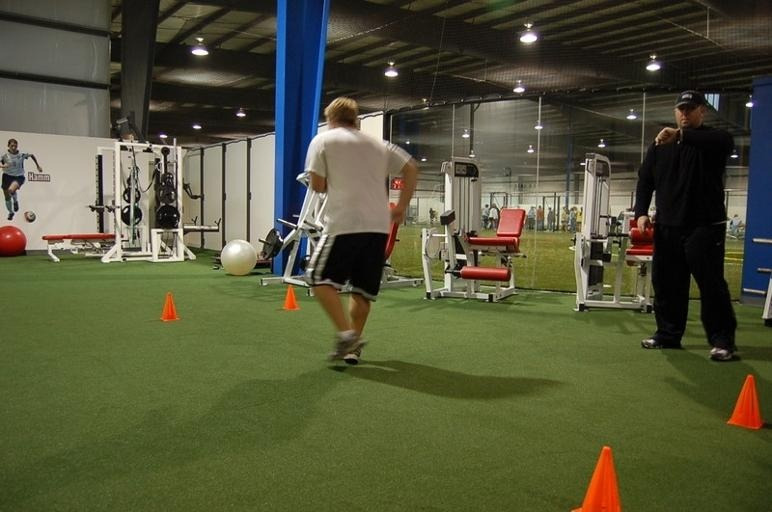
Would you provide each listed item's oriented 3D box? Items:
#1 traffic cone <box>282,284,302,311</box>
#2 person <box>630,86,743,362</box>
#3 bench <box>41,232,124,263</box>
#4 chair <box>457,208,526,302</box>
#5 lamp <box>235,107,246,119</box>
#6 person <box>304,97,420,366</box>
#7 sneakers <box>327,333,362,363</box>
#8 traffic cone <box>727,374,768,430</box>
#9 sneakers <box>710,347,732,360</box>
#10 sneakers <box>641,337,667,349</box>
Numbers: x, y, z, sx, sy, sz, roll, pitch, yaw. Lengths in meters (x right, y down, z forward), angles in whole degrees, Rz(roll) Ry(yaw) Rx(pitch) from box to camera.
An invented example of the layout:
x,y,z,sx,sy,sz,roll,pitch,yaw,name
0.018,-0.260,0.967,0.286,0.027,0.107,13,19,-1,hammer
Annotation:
x,y,z,sx,sy,sz,roll,pitch,yaw,name
-1.237,0.528,6.765,0.291,0.403,0.286,-2,-1,10,traffic cone
2.685,-0.093,4.751,0.856,2.036,0.449,3,8,23,person
-7.162,-0.257,12.393,1.421,0.611,2.468,-5,9,-33,bench
1.590,-0.070,7.691,0.795,1.174,1.142,9,11,30,chair
-6.039,-5.919,21.953,0.432,0.431,0.435,3,-1,-5,lamp
-0.220,-0.041,4.289,0.827,1.946,0.343,-1,7,-10,person
-0.316,0.746,4.243,0.147,0.185,0.403,5,-6,-2,sneakers
2.432,0.951,3.565,0.197,0.335,0.293,6,9,36,traffic cone
2.982,0.865,4.724,0.224,0.107,0.087,-1,1,-27,sneakers
2.579,0.841,5.117,0.208,0.094,0.091,0,-2,-1,sneakers
